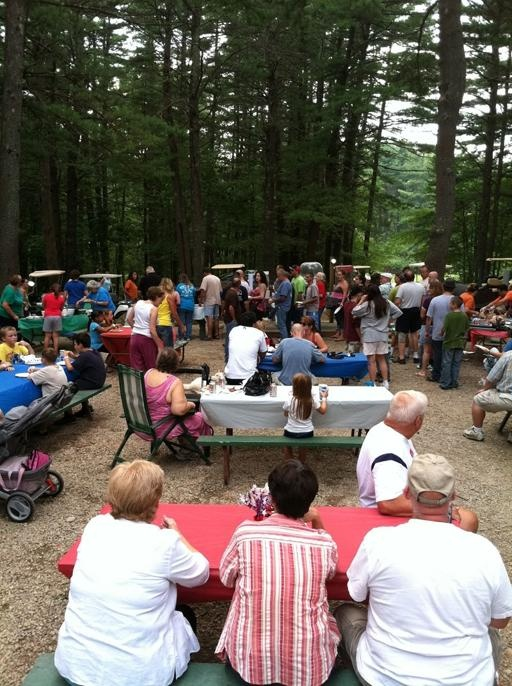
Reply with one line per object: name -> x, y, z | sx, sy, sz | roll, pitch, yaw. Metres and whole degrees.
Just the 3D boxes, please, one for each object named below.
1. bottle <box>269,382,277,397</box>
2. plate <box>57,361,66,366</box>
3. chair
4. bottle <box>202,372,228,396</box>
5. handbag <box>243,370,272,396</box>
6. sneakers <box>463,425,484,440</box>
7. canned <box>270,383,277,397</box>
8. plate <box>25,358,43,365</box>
bottle -> 0.174, 0.449, 5.514 | 0.097, 0.143, 0.096 | -1, 4, 0
plate -> -2.393, 0.231, 7.021 | 0.123, 0.028, 0.126 | 3, 7, 19
chair -> -0.934, 0.707, 5.459 | 0.957, 1.116, 0.887 | 0, 13, -5
bottle -> -0.327, 0.389, 5.655 | 0.242, 0.204, 0.399 | -1, -3, 4
handbag -> 0.015, 0.381, 5.575 | 0.217, 0.132, 0.337 | 0, 6, 2
sneakers -> 2.479, 1.010, 6.561 | 0.122, 0.152, 0.234 | 1, 9, -9
canned -> 0.182, 0.453, 5.509 | 0.094, 0.140, 0.094 | 0, 5, 3
plate -> -2.770, 0.210, 7.057 | 0.106, 0.034, 0.153 | -12, 25, -33
